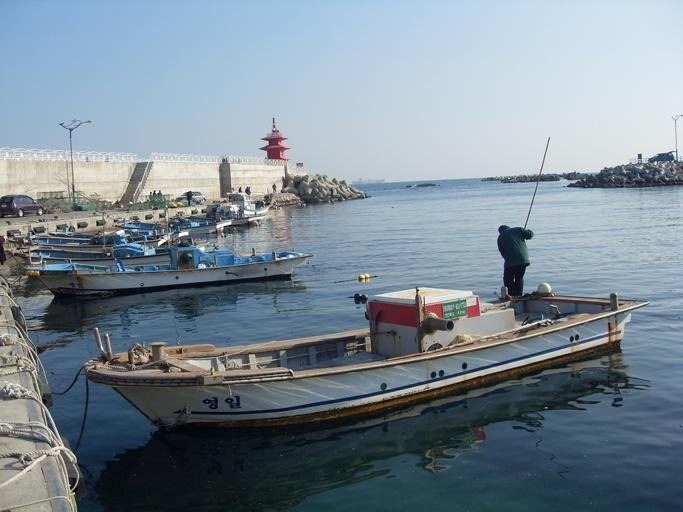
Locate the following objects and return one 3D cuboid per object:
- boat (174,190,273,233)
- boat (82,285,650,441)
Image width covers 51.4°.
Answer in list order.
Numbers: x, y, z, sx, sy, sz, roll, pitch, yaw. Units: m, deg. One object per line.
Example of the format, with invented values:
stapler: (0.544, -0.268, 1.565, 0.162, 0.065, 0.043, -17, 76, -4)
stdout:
boat: (-8.840, -3.038, 55.023, 2.666, 1.532, 8.628, 8, 13, 34)
boat: (0.575, 1.601, 19.593, 14.906, 2.575, 9.274, -6, 8, -16)
